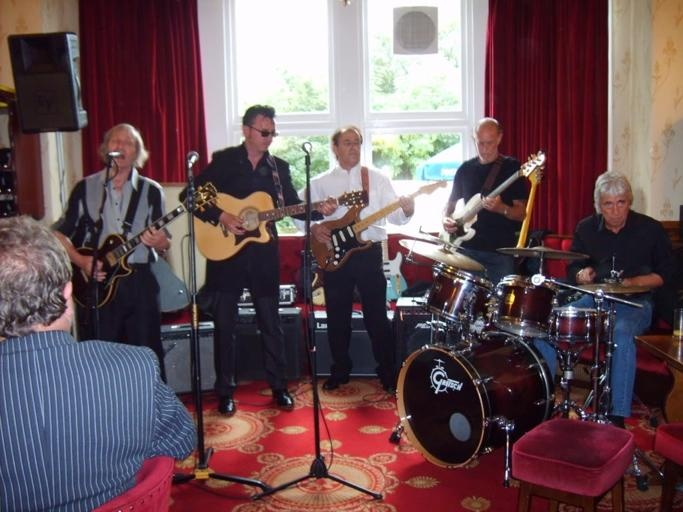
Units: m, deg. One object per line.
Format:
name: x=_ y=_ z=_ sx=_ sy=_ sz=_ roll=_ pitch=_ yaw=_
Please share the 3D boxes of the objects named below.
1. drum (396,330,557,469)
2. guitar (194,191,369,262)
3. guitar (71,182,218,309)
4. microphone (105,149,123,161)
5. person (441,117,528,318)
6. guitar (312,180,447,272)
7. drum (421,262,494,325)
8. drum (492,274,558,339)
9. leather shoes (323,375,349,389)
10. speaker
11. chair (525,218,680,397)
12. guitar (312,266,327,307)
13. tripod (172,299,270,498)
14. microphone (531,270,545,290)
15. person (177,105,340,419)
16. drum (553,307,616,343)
drum: x=0.761 y=0.728 z=3.489 sx=0.613 sy=0.703 sz=0.715 roll=3 pitch=3 yaw=43
guitar: x=-0.374 y=-0.213 z=3.872 sx=1.107 sy=0.534 sz=0.646 roll=-3 pitch=12 yaw=-9
guitar: x=-1.173 y=-0.058 z=3.677 sx=0.853 sy=0.319 sz=0.133 roll=-38 pitch=-13 yaw=-2
microphone: x=-1.205 y=-0.539 z=3.314 sx=0.086 sy=0.075 sz=0.023 roll=-14 pitch=16 yaw=-22
person: x=1.027 y=-0.293 z=4.503 sx=0.125 sy=1.327 sz=0.541 roll=-7 pitch=40 yaw=-29
guitar: x=0.244 y=-0.206 z=4.473 sx=0.733 sy=0.281 sz=0.108 roll=-34 pitch=4 yaw=-1
drum: x=0.666 y=0.210 z=3.672 sx=0.317 sy=0.251 sz=0.324 roll=22 pitch=1 yaw=0
drum: x=1.011 y=0.288 z=3.563 sx=0.328 sy=0.270 sz=0.322 roll=35 pitch=-21 yaw=-26
leather shoes: x=-0.042 y=0.913 z=4.530 sx=0.217 sy=0.104 sz=0.075 roll=1 pitch=-5 yaw=-27
speaker: x=-1.700 y=-1.015 z=3.626 sx=0.370 sy=0.565 sz=0.223 roll=-7 pitch=13 yaw=-28
chair: x=1.814 y=0.195 z=4.674 sx=1.123 sy=0.940 sz=1.160 roll=-6 pitch=29 yaw=4
guitar: x=-0.191 y=0.268 z=5.181 sx=0.161 sy=0.254 sz=0.069 roll=-12 pitch=11 yaw=-13
tripod: x=-0.726 y=0.859 z=3.749 sx=0.721 sy=1.189 sz=0.698 roll=-2 pitch=11 yaw=-12
microphone: x=1.060 y=0.128 z=3.402 sx=0.058 sy=0.069 sz=0.054 roll=31 pitch=-2 yaw=-2
person: x=-0.562 y=0.074 z=4.099 sx=0.953 sy=2.191 sz=0.571 roll=0 pitch=18 yaw=-14
drum: x=1.331 y=0.392 z=3.551 sx=0.211 sy=0.147 sz=0.228 roll=3 pitch=-7 yaw=0
